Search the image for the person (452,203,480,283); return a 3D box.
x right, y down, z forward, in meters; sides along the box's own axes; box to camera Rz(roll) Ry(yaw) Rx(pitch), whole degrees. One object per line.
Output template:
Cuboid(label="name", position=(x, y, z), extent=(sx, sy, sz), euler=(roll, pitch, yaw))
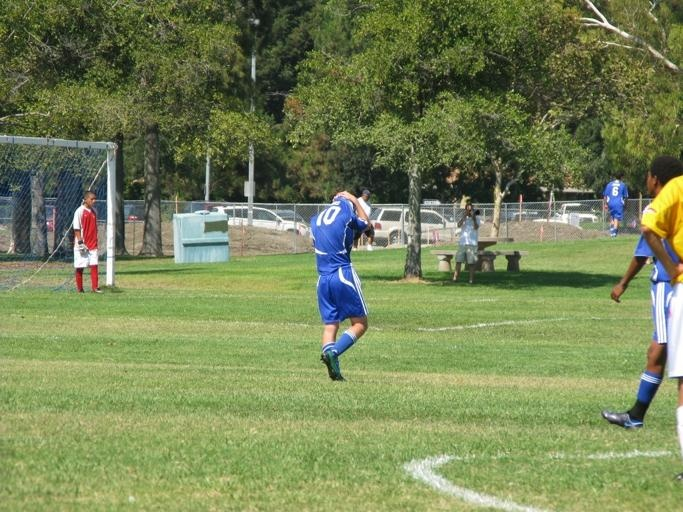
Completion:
Cuboid(label="person", position=(3.657, -0.366, 40.149), extent=(0.735, 2.371, 0.677), euler=(3, 5, -6))

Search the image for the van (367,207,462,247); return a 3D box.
Cuboid(label="van", position=(3.224, -1.263, 62.275), extent=(3.549, 1.561, 1.748), euler=(-4, 7, -20))

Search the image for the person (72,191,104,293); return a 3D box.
Cuboid(label="person", position=(-7.057, -0.342, 36.278), extent=(0.701, 3.080, 1.388), euler=(1, 2, 15))

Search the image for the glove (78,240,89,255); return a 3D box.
Cuboid(label="glove", position=(-6.784, -0.157, 36.177), extent=(0.147, 0.412, 0.174), euler=(-10, 2, -26))

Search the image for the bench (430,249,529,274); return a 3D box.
Cuboid(label="bench", position=(4.487, 0.204, 45.189), extent=(2.069, 0.934, 2.360), euler=(6, 6, 40))
